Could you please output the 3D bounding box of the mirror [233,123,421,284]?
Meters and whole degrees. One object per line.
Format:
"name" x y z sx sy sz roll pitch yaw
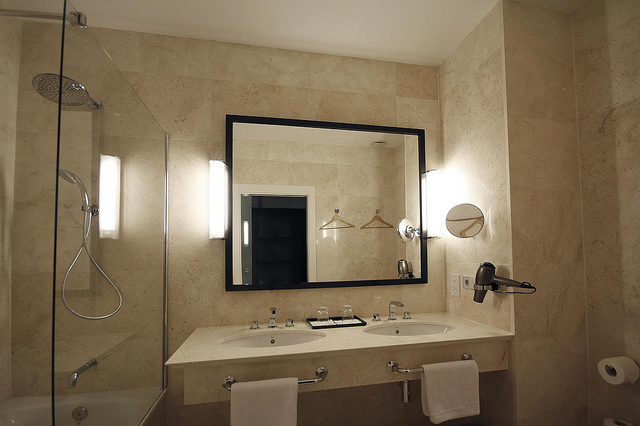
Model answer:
"mirror" 0.062 -0.032 3.832 1.572 1.288 0.053 -1 8 -3

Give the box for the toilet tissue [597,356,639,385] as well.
"toilet tissue" 1.884 0.970 3.132 0.177 0.179 0.191 7 -6 -43
